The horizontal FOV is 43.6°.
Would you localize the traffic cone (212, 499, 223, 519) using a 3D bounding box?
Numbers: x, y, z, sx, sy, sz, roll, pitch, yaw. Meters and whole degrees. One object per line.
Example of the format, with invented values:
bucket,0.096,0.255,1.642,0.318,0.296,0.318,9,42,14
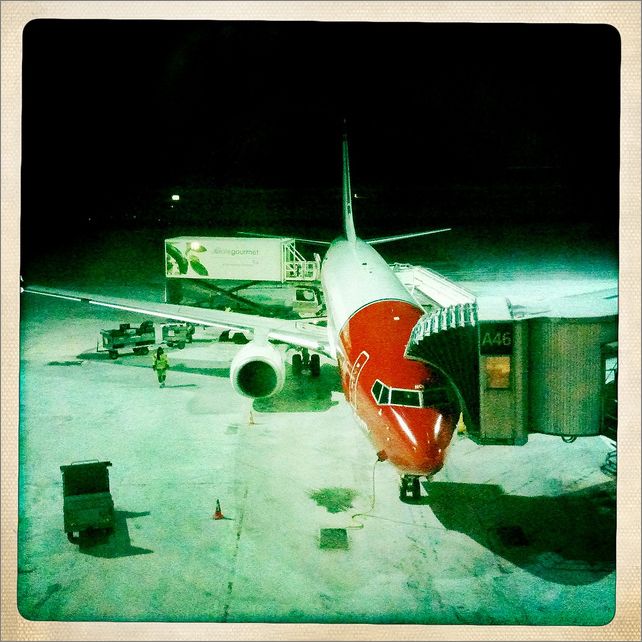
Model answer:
traffic cone,-2.234,4.115,17.538,0.217,0.403,0.592,1,0,-7
